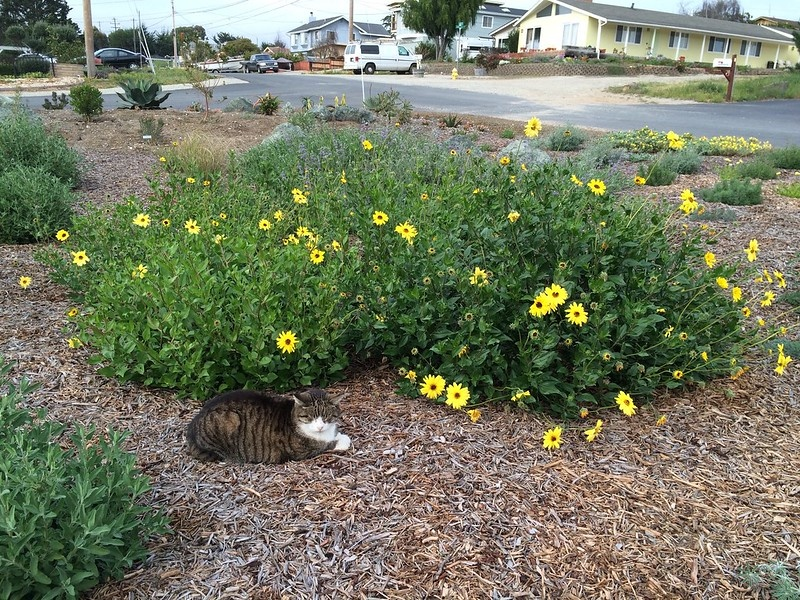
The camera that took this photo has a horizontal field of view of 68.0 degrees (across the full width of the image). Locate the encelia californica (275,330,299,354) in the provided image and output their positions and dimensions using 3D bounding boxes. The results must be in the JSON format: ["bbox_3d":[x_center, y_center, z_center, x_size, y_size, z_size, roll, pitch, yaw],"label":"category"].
[{"bbox_3d":[-0.738,0.271,3.814,0.140,0.137,0.032,4,-13,-37],"label":"encelia californica"}]

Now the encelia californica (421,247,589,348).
[{"bbox_3d":[0.817,-0.022,3.771,0.897,0.491,0.648,0,6,-3],"label":"encelia californica"}]

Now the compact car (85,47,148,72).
[{"bbox_3d":[-20.068,-17.147,42.280,2.204,1.239,4.469,2,25,3],"label":"compact car"}]

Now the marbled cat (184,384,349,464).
[{"bbox_3d":[-0.789,0.735,3.607,0.970,0.424,0.347,-2,26,-6],"label":"marbled cat"}]

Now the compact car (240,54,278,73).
[{"bbox_3d":[-11.086,-18.687,47.108,2.200,1.097,3.463,-13,28,-27],"label":"compact car"}]

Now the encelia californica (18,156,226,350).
[{"bbox_3d":[-2.583,-0.484,5.241,1.440,0.848,3.639,-6,26,-14],"label":"encelia californica"}]

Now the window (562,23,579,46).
[{"bbox_3d":[13.806,-21.500,47.978,0.149,2.005,1.773,-14,30,-34],"label":"window"}]
